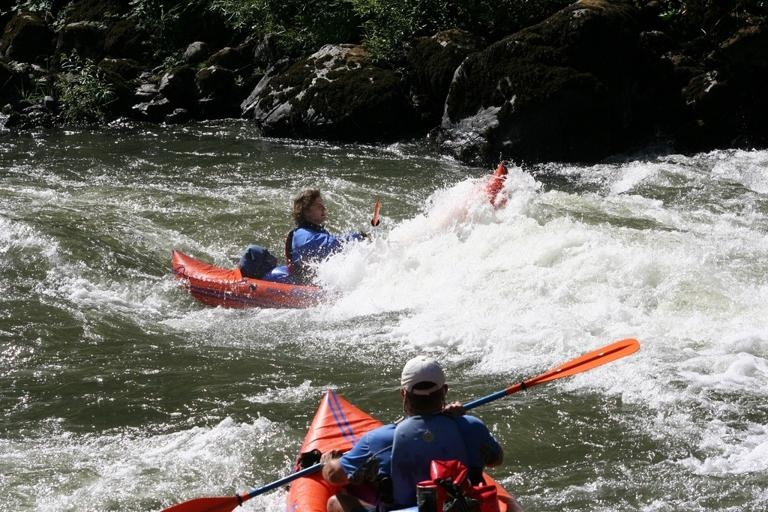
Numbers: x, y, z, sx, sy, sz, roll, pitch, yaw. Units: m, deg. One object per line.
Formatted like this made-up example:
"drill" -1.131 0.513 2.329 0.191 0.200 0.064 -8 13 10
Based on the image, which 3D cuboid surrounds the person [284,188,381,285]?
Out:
"person" -0.993 -0.264 15.200 0.925 1.403 0.414 6 10 -3
